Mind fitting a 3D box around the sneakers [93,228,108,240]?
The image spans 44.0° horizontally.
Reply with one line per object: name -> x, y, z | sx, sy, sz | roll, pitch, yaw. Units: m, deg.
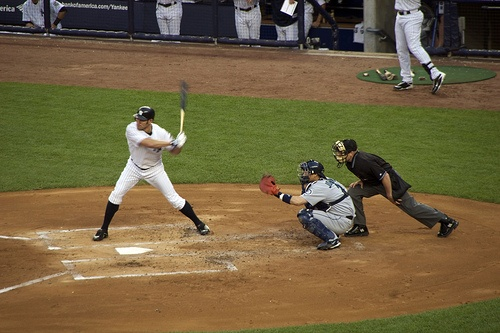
sneakers -> -2.532, 1.173, 10.567 | 0.116, 0.122, 0.302 | 1, 4, 24

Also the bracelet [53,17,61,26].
bracelet -> -6.459, -4.891, 20.918 | 0.240, 0.085, 0.164 | -21, 25, 45

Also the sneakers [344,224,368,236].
sneakers -> 1.869, 1.119, 10.893 | 0.469, 0.275, 0.166 | 1, 6, 0

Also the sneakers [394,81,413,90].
sneakers -> 3.998, -2.112, 16.242 | 0.508, 0.206, 0.184 | -1, 32, -8

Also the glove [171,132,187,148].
glove -> -1.161, -0.450, 10.510 | 0.166, 0.260, 0.324 | 5, 11, 18

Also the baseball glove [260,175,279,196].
baseball glove -> 0.336, 0.311, 10.314 | 0.303, 0.325, 0.255 | 2, 10, 2

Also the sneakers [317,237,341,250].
sneakers -> 1.315, 1.292, 10.430 | 0.445, 0.169, 0.153 | -11, 18, -10

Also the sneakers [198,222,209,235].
sneakers -> -0.808, 1.094, 10.829 | 0.241, 0.135, 0.085 | 19, 33, 32

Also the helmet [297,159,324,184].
helmet -> 1.044, 0.087, 10.516 | 0.458, 0.356, 0.335 | 3, 9, 8

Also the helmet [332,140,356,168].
helmet -> 1.560, -0.243, 10.598 | 0.484, 0.421, 0.395 | -5, 11, -16

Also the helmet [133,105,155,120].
helmet -> -1.749, -0.889, 10.356 | 0.333, 0.172, 0.227 | -2, 31, -26

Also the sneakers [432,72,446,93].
sneakers -> 4.769, -2.110, 15.710 | 0.278, 0.584, 0.201 | 16, 31, -7
